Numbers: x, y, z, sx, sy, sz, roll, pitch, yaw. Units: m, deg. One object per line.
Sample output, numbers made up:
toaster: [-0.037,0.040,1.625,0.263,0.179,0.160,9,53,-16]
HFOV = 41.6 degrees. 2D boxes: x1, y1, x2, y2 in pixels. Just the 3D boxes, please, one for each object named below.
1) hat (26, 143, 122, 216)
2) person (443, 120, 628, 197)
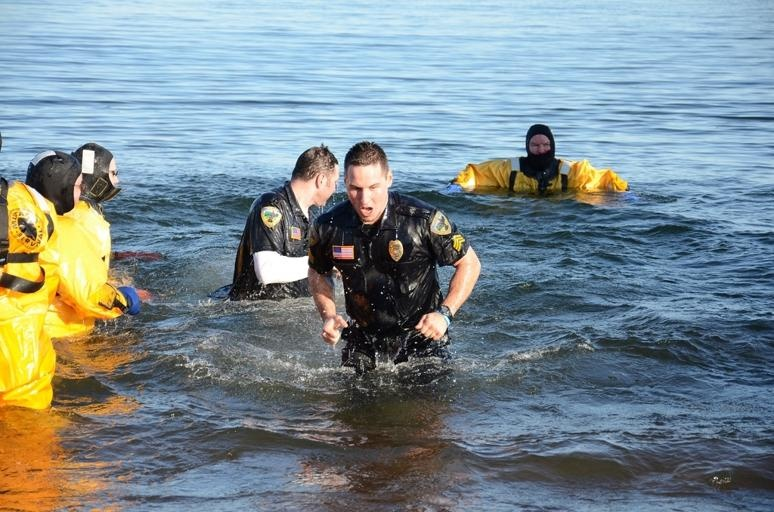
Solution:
hat: [-3.543,-0.891,11.495,0.930,0.933,0.937,1,-9,21]
person: [2.664,-1.580,17.558,2.882,0.823,0.855,3,-3,12]
